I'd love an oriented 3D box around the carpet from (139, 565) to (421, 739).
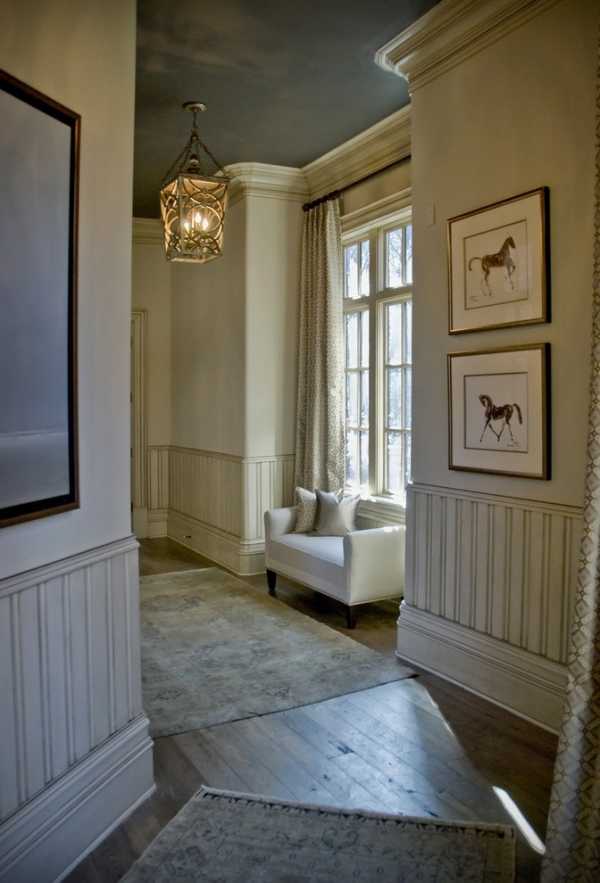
[{"bbox_3d":[-0.363,1.199,3.815,1.278,0.040,2.134,0,0,-20],"label":"carpet"}]
